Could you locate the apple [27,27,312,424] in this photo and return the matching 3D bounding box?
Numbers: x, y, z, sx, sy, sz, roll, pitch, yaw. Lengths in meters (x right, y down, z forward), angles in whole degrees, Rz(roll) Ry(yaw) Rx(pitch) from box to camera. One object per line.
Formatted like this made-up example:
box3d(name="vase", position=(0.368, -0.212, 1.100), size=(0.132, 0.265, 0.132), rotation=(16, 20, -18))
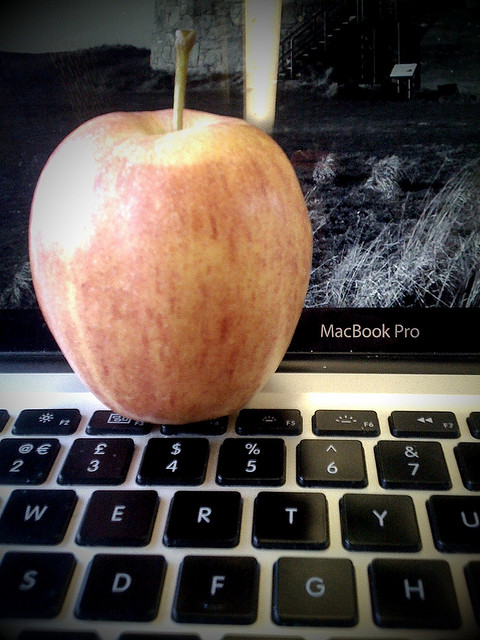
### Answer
box3d(name="apple", position=(-0.043, -0.060, 0.348), size=(0.163, 0.228, 0.171), rotation=(5, 23, 11))
